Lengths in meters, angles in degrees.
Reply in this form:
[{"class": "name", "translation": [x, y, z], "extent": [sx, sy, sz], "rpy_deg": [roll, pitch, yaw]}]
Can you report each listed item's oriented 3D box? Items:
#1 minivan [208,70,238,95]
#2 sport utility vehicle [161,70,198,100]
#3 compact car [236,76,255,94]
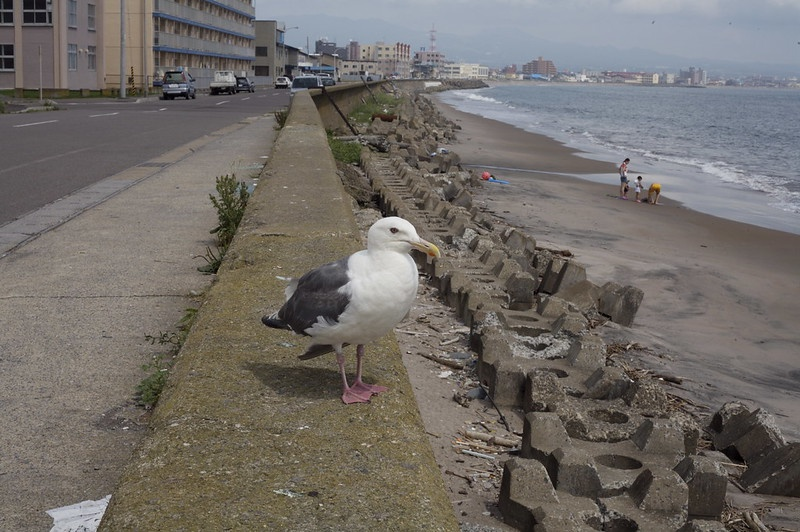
[{"class": "minivan", "translation": [-14.400, -14.885, 53.145], "extent": [2.635, 1.971, 1.285], "rpy_deg": [19, 25, 29]}, {"class": "sport utility vehicle", "translation": [-15.669, -12.748, 45.698], "extent": [1.922, 1.850, 3.062], "rpy_deg": [2, 22, -11]}, {"class": "compact car", "translation": [-14.610, -17.072, 61.261], "extent": [1.505, 0.839, 2.077], "rpy_deg": [1, 22, -1]}]
